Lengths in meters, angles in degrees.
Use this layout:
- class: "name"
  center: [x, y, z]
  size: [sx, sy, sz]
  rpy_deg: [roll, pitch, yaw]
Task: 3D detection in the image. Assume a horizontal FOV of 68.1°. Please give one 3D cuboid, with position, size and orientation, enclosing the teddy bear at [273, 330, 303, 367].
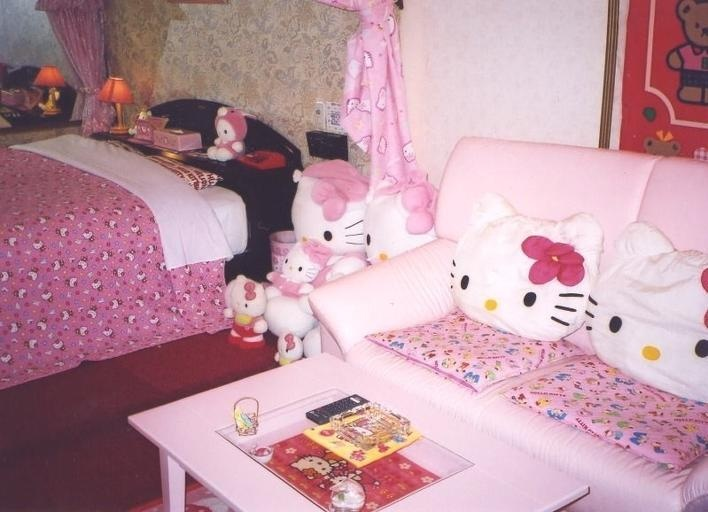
- class: "teddy bear"
  center: [-0.356, 0.505, 2.858]
  size: [0.114, 0.202, 0.157]
  rpy_deg: [-12, 19, -43]

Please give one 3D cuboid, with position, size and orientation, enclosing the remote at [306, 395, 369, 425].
- class: "remote"
  center: [-0.062, 0.522, 1.787]
  size: [0.174, 0.023, 0.088]
  rpy_deg: [-17, 22, -41]

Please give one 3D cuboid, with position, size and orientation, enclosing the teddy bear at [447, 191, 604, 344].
- class: "teddy bear"
  center: [0.720, 0.075, 2.310]
  size: [0.364, 0.570, 0.644]
  rpy_deg: [-19, 26, -39]

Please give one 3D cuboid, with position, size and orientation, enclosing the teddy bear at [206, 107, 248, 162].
- class: "teddy bear"
  center: [-0.978, -0.947, 4.043]
  size: [0.280, 0.403, 0.336]
  rpy_deg: [7, 26, 15]

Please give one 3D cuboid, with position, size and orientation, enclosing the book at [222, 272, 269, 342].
- class: "book"
  center: [-0.657, 0.332, 3.151]
  size: [0.281, 0.370, 0.179]
  rpy_deg: [23, 29, 33]

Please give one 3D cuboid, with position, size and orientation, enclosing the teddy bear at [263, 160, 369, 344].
- class: "teddy bear"
  center: [-0.229, -0.030, 3.184]
  size: [0.610, 1.089, 0.613]
  rpy_deg: [8, 10, 40]

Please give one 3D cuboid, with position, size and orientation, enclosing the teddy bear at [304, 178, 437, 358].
- class: "teddy bear"
  center: [0.239, 0.065, 2.810]
  size: [0.328, 0.867, 0.901]
  rpy_deg: [11, -9, -40]
